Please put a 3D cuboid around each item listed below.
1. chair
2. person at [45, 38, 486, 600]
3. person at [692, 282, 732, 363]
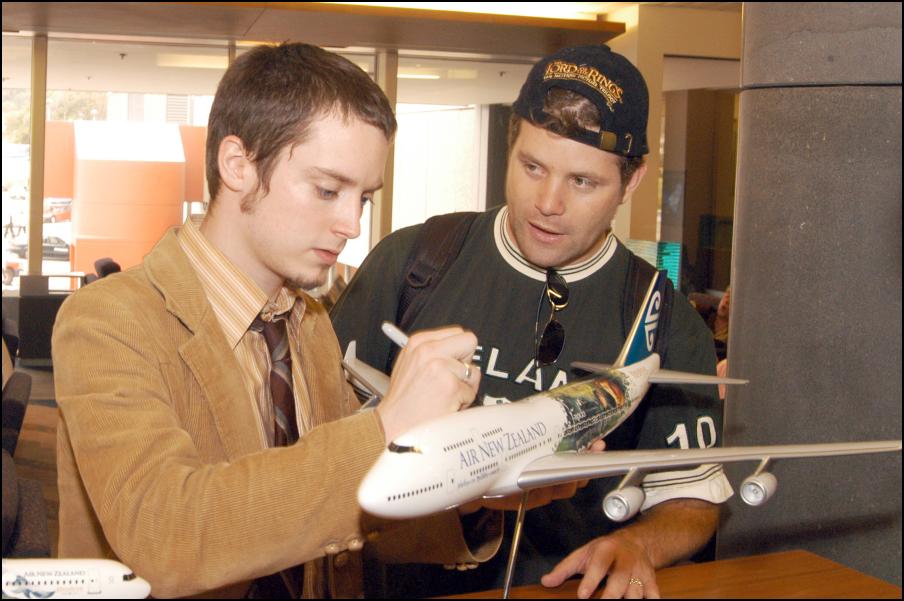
[{"bbox_3d":[-3.460,1.034,6.280,0.405,2.262,0.548,11,-42,-38],"label":"chair"},{"bbox_3d":[-0.906,-0.015,3.383,1.505,2.363,1.129,-1,5,-27],"label":"person"},{"bbox_3d":[2.736,0.148,8.124,0.375,0.927,0.953,6,5,14],"label":"person"}]
